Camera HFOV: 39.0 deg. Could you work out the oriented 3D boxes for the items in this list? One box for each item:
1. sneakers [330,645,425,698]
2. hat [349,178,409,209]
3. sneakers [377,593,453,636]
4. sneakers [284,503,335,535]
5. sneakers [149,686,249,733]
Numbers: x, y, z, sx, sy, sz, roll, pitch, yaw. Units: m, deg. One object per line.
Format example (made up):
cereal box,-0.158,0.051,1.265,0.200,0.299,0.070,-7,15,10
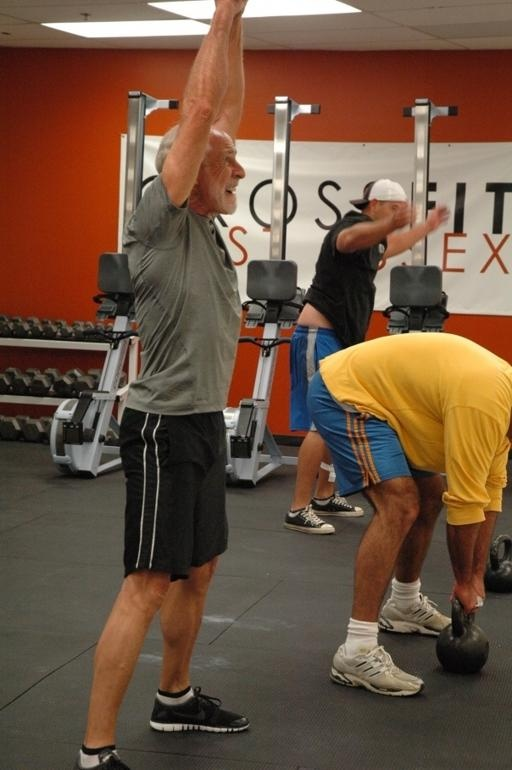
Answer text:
sneakers,0.272,0.663,1.713,0.237,0.094,0.084,6,-5,13
hat,0.528,-0.816,3.099,0.219,0.105,0.128,7,10,13
sneakers,0.452,0.663,2.091,0.227,0.096,0.089,1,-7,10
sneakers,0.241,0.619,3.295,0.272,0.114,0.091,0,0,29
sneakers,-0.115,0.663,1.499,0.238,0.092,0.078,3,-8,-9
